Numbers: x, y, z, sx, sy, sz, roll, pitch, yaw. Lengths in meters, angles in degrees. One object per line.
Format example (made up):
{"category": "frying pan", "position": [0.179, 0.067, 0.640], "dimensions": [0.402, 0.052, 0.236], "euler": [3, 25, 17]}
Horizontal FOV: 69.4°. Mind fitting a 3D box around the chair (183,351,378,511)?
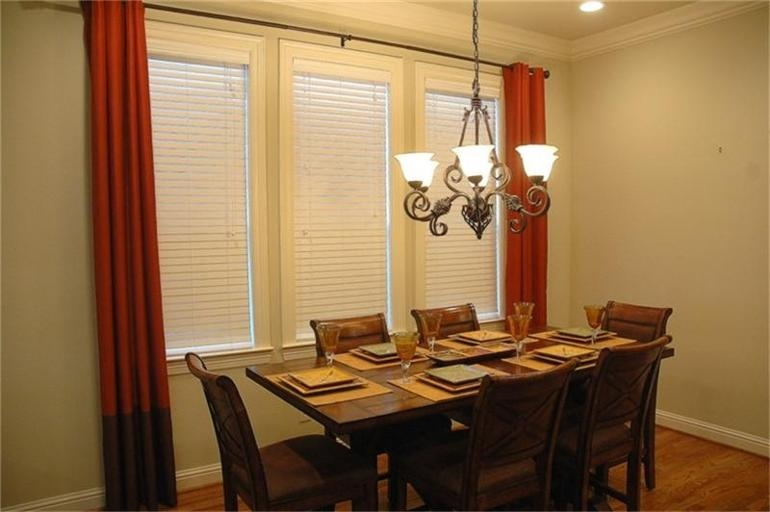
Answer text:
{"category": "chair", "position": [-0.652, 1.095, 3.774], "dimensions": [1.171, 1.440, 0.867], "euler": [-5, 3, -26]}
